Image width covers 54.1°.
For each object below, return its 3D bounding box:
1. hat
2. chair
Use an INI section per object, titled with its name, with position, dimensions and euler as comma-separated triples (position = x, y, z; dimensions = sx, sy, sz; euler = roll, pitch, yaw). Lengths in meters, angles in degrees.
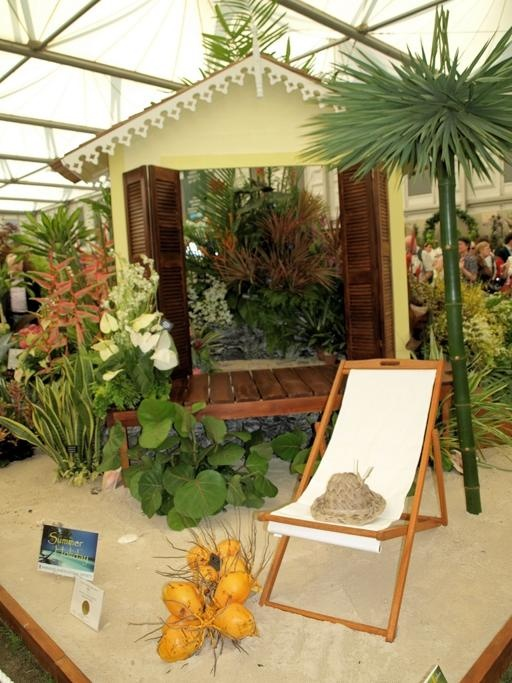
[hat]
position = 0.346, 0.603, 1.911
dimensions = 0.279, 0.155, 0.201
euler = -3, 2, 10
[chair]
position = 0.502, 0.585, 2.297
dimensions = 0.659, 0.798, 1.071
euler = -1, 13, 35
